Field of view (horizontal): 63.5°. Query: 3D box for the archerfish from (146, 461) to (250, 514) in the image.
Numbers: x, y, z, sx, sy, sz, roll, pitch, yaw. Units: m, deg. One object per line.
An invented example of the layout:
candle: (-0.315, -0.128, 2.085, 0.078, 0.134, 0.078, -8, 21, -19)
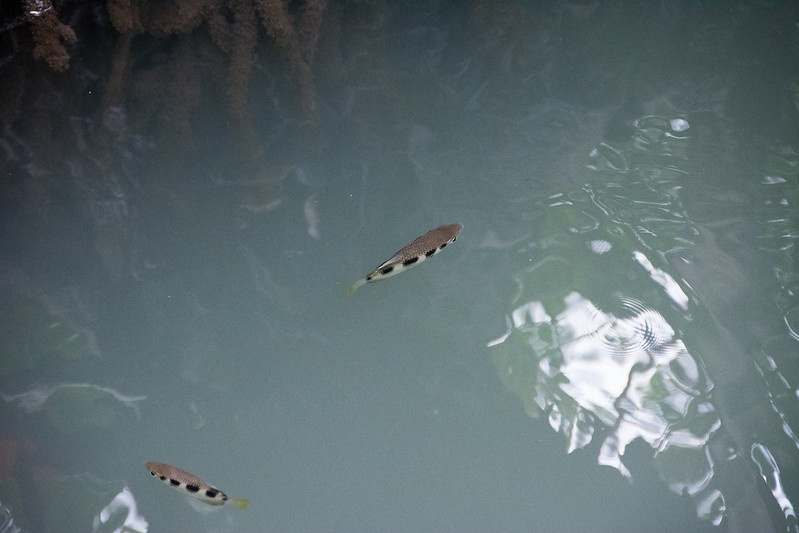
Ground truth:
archerfish: (-0.842, 1.000, 2.780, 0.388, 0.402, 0.144, -3, 60, 31)
